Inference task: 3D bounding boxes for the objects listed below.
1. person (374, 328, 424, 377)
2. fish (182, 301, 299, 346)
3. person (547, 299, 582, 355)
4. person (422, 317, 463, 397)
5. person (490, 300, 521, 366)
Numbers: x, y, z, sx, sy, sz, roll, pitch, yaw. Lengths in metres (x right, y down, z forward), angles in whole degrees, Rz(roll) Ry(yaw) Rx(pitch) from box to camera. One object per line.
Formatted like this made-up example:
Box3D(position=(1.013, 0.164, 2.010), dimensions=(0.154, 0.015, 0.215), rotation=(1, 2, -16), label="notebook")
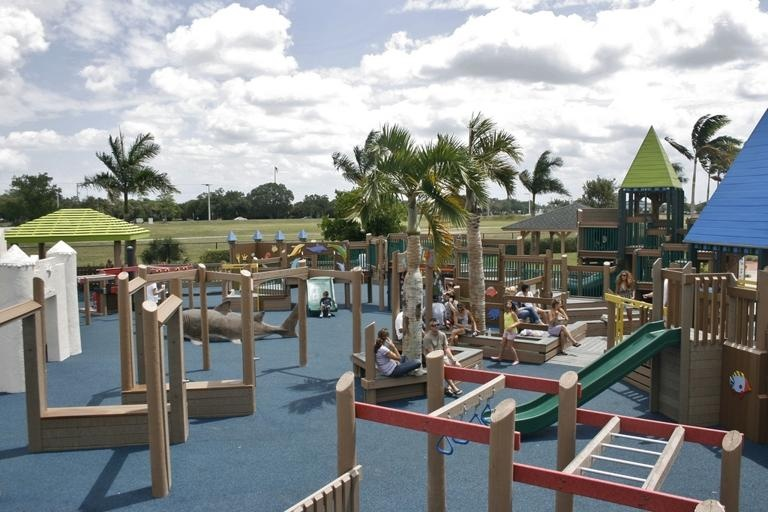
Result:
Box3D(position=(0.295, 2.438, 16.428), dimensions=(1.250, 1.297, 1.044), rotation=(-4, 8, -16), label="person")
Box3D(position=(-4.854, 2.395, 21.139), dimensions=(3.798, 1.641, 1.629), rotation=(5, 0, 7), label="fish")
Box3D(position=(5.737, 2.248, 20.075), dimensions=(0.916, 1.853, 0.947), rotation=(-1, -3, -14), label="person")
Box3D(position=(1.548, 2.599, 16.229), dimensions=(0.754, 1.960, 1.112), rotation=(-4, 3, -33), label="person")
Box3D(position=(3.779, 2.376, 19.391), dimensions=(0.762, 1.987, 0.797), rotation=(2, -4, -3), label="person")
